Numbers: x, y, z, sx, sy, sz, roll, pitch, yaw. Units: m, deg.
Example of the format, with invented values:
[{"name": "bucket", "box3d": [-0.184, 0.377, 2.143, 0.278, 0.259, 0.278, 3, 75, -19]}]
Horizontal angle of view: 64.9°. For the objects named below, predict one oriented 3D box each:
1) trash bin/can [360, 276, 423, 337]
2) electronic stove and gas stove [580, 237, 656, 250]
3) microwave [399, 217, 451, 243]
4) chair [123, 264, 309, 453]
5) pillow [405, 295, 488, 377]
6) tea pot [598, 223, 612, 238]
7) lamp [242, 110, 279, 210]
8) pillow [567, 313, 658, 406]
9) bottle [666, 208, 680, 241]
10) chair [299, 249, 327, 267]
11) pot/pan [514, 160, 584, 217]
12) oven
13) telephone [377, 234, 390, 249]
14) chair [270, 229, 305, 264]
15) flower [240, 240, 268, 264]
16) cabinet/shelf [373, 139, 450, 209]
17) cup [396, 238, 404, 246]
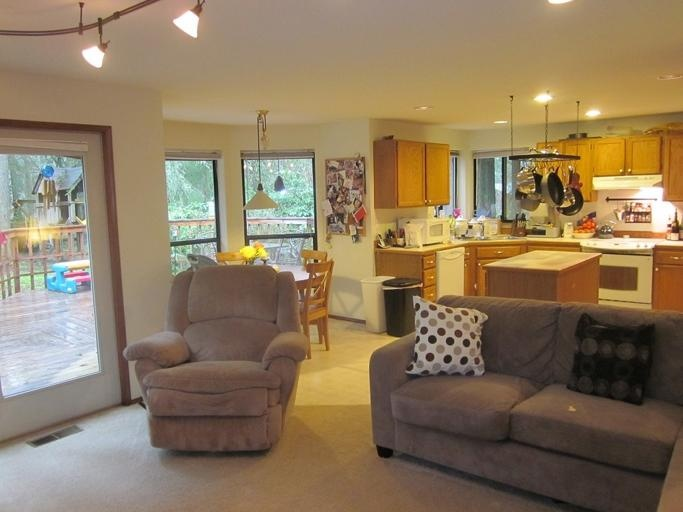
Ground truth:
[{"name": "trash bin/can", "box3d": [0.634, 0.511, 6.742, 0.924, 0.796, 0.645, 2, 5, 26]}, {"name": "electronic stove and gas stove", "box3d": [3.591, -0.160, 6.982, 0.853, 0.116, 0.749, 4, 12, 29]}, {"name": "microwave", "box3d": [1.044, -0.326, 7.132, 0.386, 0.279, 0.553, 1, 4, 35]}, {"name": "chair", "box3d": [-0.909, 0.792, 4.198, 1.285, 1.219, 1.009, -3, 11, -4]}, {"name": "pillow", "box3d": [0.789, 0.600, 3.912, 0.538, 0.522, 0.202, 1, -26, -2]}, {"name": "tea pot", "box3d": [3.646, -0.348, 7.442, 0.172, 0.194, 0.205, 0, -2, 11]}, {"name": "lamp", "box3d": [-1.025, -1.118, 6.605, 0.381, 1.217, 1.263, -4, 11, -9]}, {"name": "pillow", "box3d": [1.759, 0.678, 3.438, 0.476, 0.509, 0.185, 7, -13, 46]}, {"name": "bottle", "box3d": [4.282, -0.412, 6.888, 0.150, 0.375, 0.406, 5, 13, 31]}, {"name": "chair", "box3d": [-0.344, 0.001, 6.684, 0.275, 0.338, 0.249, 0, -3, 8]}, {"name": "pot/pan", "box3d": [1.928, -0.601, 4.929, 0.585, 0.440, 0.417, -6, 12, -17]}, {"name": "oven", "box3d": [3.683, 0.355, 6.858, 0.680, 0.896, 0.528, 5, 6, 41]}, {"name": "telephone", "box3d": [0.546, -0.196, 7.023, 0.040, 0.165, 0.172, -14, -11, 36]}, {"name": "chair", "box3d": [-0.744, -0.094, 7.547, 0.660, 0.441, 0.350, 1, 14, -3]}, {"name": "flower", "box3d": [-0.940, -0.021, 5.883, 0.252, 0.220, 0.383, -3, 11, -4]}, {"name": "cabinet/shelf", "box3d": [0.888, -1.079, 6.994, 0.292, 0.590, 0.999, 3, 6, 35]}, {"name": "cup", "box3d": [0.788, -0.185, 7.044, 0.091, 0.099, 0.163, -5, 11, -14]}]
